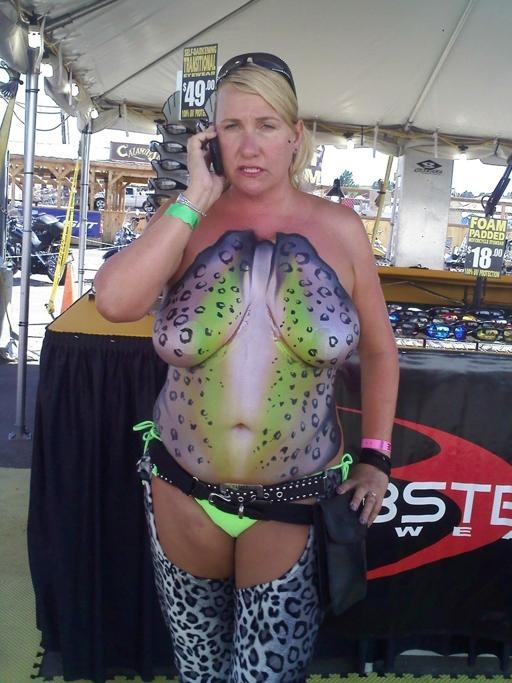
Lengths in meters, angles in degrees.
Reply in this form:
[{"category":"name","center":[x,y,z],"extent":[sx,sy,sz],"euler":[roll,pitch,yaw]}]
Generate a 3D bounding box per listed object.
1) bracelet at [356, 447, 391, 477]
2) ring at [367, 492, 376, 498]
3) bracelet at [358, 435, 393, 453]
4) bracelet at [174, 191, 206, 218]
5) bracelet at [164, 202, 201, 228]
[{"category":"bracelet","center":[0.254,0.253,1.268],"extent":[0.064,0.036,0.063],"euler":[32,-12,-37]},{"category":"ring","center":[0.229,0.301,1.150],"extent":[0.012,0.003,0.010],"euler":[8,38,7]},{"category":"bracelet","center":[0.263,0.212,1.250],"extent":[0.051,0.029,0.050],"euler":[7,-7,-4]},{"category":"bracelet","center":[-0.125,-0.254,1.093],"extent":[0.055,0.032,0.026],"euler":[33,-42,-6]},{"category":"bracelet","center":[-0.139,-0.239,1.123],"extent":[0.044,0.040,0.058],"euler":[26,4,-41]}]
